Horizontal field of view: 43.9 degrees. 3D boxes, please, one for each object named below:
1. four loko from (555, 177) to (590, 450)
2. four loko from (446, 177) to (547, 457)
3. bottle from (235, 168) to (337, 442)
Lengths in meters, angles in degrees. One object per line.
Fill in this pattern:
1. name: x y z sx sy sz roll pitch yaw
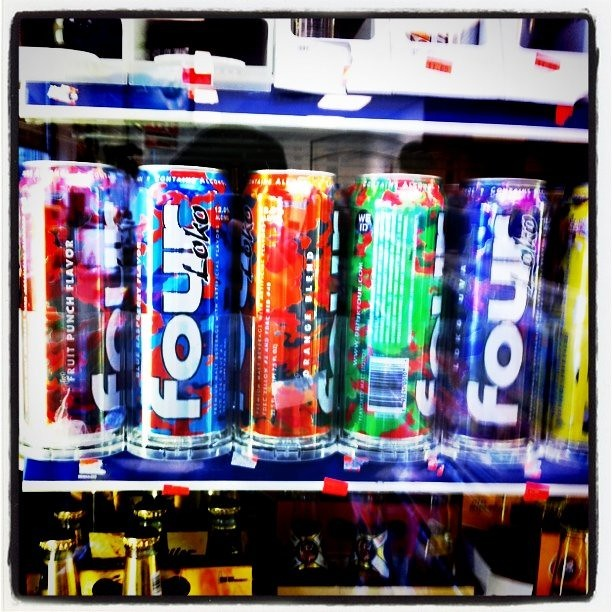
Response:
1. four loko: 0.545 0.021 1.548 0.046 0.532 0.070 -3 6 -40
2. four loko: 0.369 0.030 1.518 0.189 0.562 0.071 2 5 17
3. bottle: -0.035 0.004 1.486 0.190 0.533 0.064 0 4 -3
